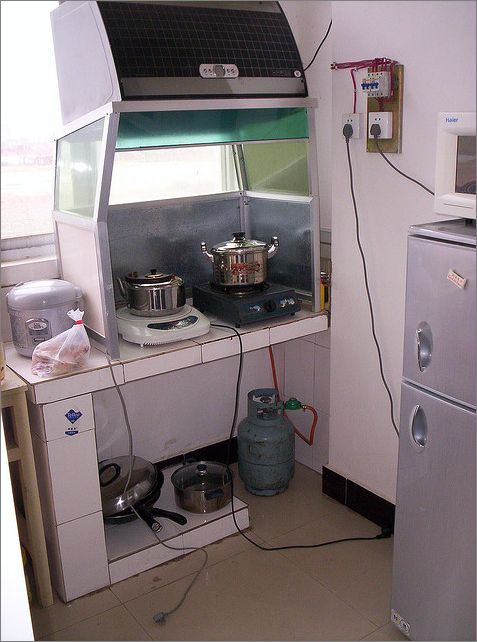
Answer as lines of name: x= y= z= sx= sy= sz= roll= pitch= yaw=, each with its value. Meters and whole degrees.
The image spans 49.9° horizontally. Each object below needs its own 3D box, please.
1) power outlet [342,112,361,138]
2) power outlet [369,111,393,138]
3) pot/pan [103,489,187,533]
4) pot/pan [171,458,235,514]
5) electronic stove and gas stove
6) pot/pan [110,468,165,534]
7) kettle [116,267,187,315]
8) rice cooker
power outlet: x=0.427 y=-0.737 z=1.925 sx=0.031 sy=0.099 sz=0.082 roll=-14 pitch=21 yaw=-35
power outlet: x=0.501 y=-0.697 z=1.827 sx=0.045 sy=0.100 sz=0.119 roll=-6 pitch=15 yaw=-20
pot/pan: x=-0.361 y=0.775 z=2.014 sx=0.241 sy=0.036 sz=0.149 roll=11 pitch=31 yaw=41
pot/pan: x=-0.166 y=0.714 z=2.233 sx=0.251 sy=0.170 sz=0.362 roll=-8 pitch=12 yaw=-34
electronic stove and gas stove: x=-0.327 y=0.013 z=2.091 sx=0.395 sy=0.101 sz=0.444 roll=-6 pitch=12 yaw=-17
pot/pan: x=-0.400 y=0.714 z=2.029 sx=0.173 sy=0.185 sz=0.168 roll=-6 pitch=20 yaw=-34
kettle: x=-0.357 y=-0.119 z=2.048 sx=0.242 sy=0.196 sz=0.205 roll=5 pitch=13 yaw=24
rice cooker: x=-0.700 y=-0.022 z=1.891 sx=0.240 sy=0.247 sz=0.259 roll=-15 pitch=25 yaw=-28
